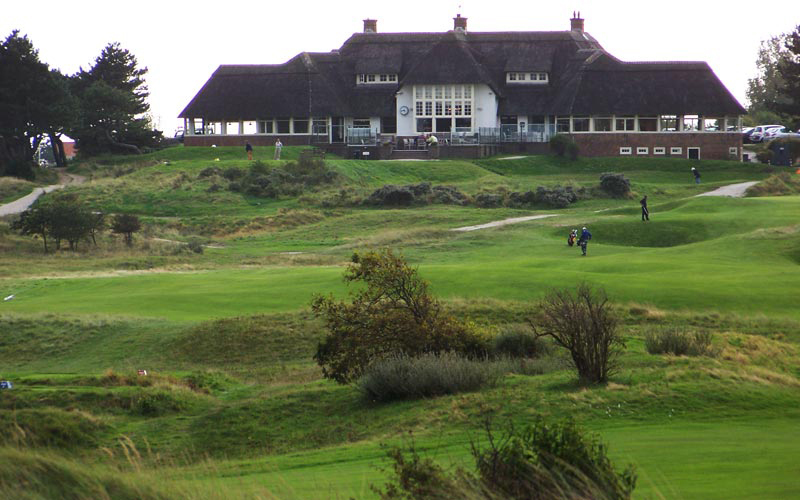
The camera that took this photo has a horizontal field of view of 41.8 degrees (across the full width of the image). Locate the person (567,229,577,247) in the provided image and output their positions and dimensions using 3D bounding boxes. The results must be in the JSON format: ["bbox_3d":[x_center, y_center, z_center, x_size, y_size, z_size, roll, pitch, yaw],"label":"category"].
[{"bbox_3d":[12.875,-0.941,77.058,0.496,1.264,0.912,11,0,8],"label":"person"}]
